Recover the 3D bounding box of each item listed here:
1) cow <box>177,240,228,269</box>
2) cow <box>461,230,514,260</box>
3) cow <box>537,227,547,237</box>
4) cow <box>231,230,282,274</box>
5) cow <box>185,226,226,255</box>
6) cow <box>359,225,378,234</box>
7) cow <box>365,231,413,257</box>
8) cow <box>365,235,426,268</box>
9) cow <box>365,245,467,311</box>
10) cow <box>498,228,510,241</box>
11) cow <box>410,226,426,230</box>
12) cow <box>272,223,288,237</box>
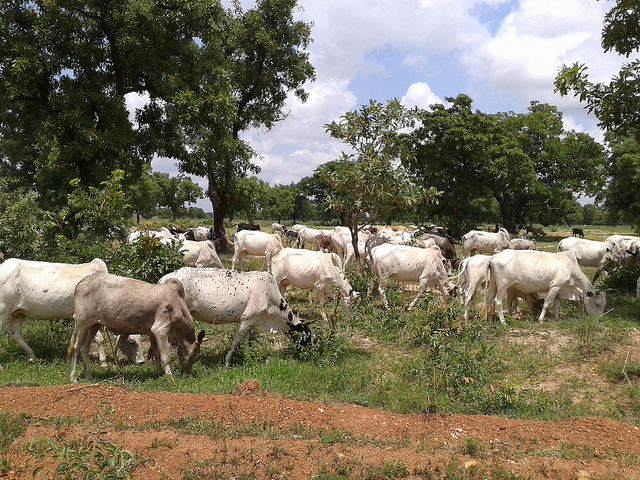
[{"bbox_3d":[-4.235,0.530,20.061,1.246,0.960,1.236,-1,0,-6],"label":"cow"},{"bbox_3d":[8.559,0.452,28.541,2.986,1.813,0.828,3,7,3],"label":"cow"},{"bbox_3d":[20.917,-0.703,53.786,0.608,0.771,2.121,0,0,22],"label":"cow"},{"bbox_3d":[-2.537,0.520,24.456,2.666,1.979,0.997,6,12,-7],"label":"cow"},{"bbox_3d":[-5.518,0.044,29.391,1.095,1.730,3.051,2,3,36],"label":"cow"},{"bbox_3d":[2.360,-0.427,27.282,1.011,0.592,0.340,0,3,20],"label":"cow"},{"bbox_3d":[2.733,0.181,22.227,2.252,1.266,0.810,-3,11,-13],"label":"cow"},{"bbox_3d":[2.662,0.370,22.203,2.620,1.453,0.918,-2,6,-4],"label":"cow"},{"bbox_3d":[3.148,1.309,19.003,3.402,2.245,0.997,7,9,-8],"label":"cow"},{"bbox_3d":[9.509,-0.235,29.471,0.238,0.906,0.489,-5,-24,-12],"label":"cow"},{"bbox_3d":[4.554,-0.524,26.528,0.502,0.147,0.490,-2,-1,43],"label":"cow"},{"bbox_3d":[-3.058,-0.799,42.660,0.636,1.099,1.929,-3,4,-45],"label":"cow"}]
